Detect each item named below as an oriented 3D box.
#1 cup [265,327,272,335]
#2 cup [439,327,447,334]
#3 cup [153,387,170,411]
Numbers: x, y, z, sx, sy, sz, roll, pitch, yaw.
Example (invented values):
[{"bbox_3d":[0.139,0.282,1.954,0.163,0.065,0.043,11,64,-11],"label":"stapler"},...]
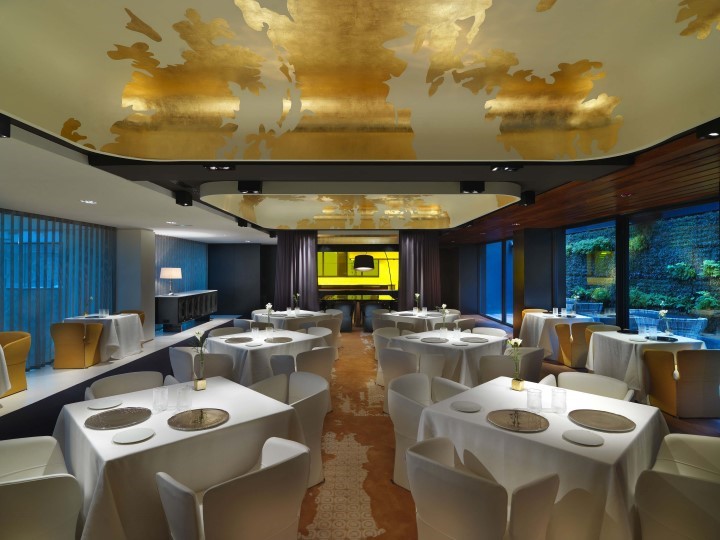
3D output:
[{"bbox_3d":[-1.337,0.890,6.659,0.078,0.091,0.102,1,-5,-7],"label":"cup"},{"bbox_3d":[1.113,0.834,6.243,0.080,0.082,0.072,-1,3,-7],"label":"cup"},{"bbox_3d":[-1.511,0.989,3.535,0.144,0.164,0.145,-1,0,0],"label":"cup"}]
